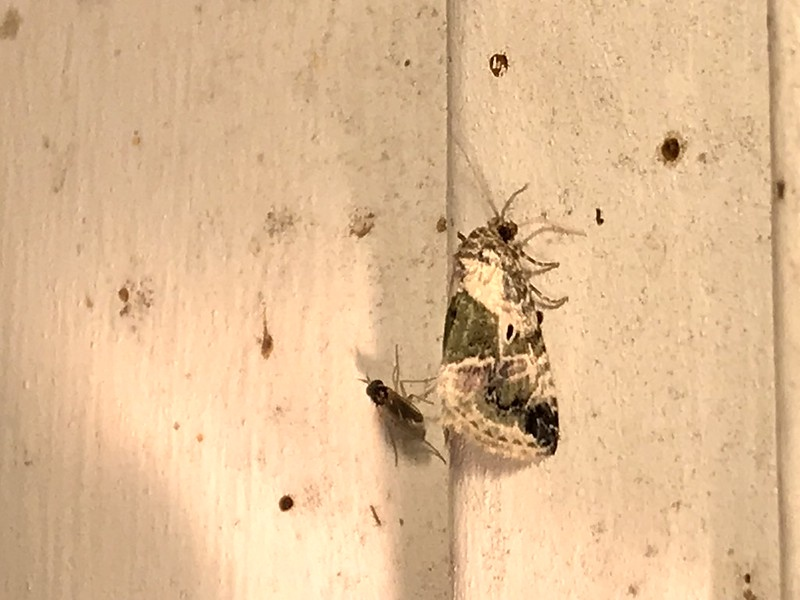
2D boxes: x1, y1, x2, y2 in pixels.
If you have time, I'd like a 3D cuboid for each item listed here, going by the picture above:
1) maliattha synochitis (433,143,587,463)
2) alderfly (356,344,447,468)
[{"bbox_3d":[0.220,0.040,3.878,0.254,0.126,0.541,6,77,3],"label":"maliattha synochitis"},{"bbox_3d":[0.013,0.234,3.927,0.120,0.067,0.256,-25,77,-5],"label":"alderfly"}]
